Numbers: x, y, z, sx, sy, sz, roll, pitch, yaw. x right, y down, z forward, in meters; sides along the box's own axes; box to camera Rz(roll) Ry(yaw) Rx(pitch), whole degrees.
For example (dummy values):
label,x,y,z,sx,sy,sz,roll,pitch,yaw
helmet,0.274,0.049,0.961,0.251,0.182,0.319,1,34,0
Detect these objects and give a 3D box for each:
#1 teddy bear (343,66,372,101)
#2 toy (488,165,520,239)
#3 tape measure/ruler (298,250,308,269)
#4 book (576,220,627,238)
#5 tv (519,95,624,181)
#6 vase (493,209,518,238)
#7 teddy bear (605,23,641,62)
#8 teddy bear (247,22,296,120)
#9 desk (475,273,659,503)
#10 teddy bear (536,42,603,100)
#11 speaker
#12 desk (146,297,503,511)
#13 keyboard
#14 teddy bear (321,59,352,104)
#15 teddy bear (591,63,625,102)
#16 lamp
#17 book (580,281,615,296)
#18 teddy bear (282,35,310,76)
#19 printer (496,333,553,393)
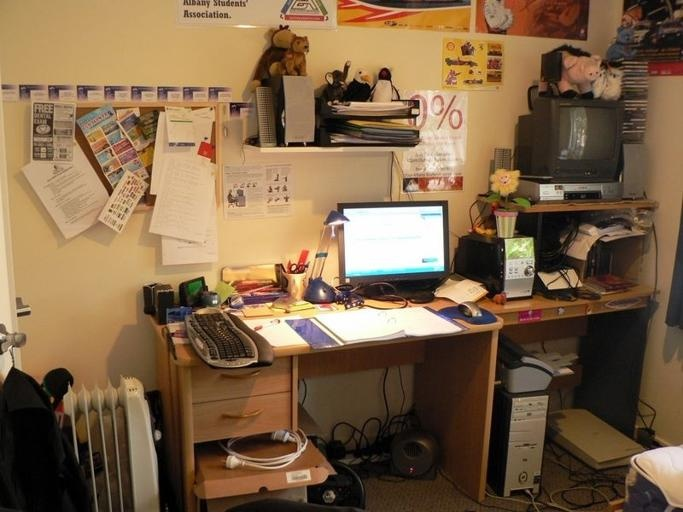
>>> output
label,x,y,z,sx,sy,sz,roll,pitch,yaw
teddy bear,0.088,-0.865,2.926,0.163,0.168,0.115,-3,14,10
toy,0.879,-0.276,3.099,0.178,0.361,0.164,-2,7,-9
tape measure/ruler,-0.200,0.022,3.030,0.019,0.077,0.077,17,8,3
book,1.467,-0.143,3.244,0.164,0.046,0.124,-8,15,-28
tv,1.301,-0.644,3.331,0.534,0.457,0.558,1,7,8
vase,0.871,-0.174,3.116,0.138,0.156,0.138,-3,9,-22
teddy bear,1.593,-1.175,3.218,0.220,0.185,0.098,-10,17,-22
teddy bear,-0.313,-0.940,2.824,0.274,0.361,0.157,2,5,-20
desk,1.237,0.720,3.139,1.068,0.973,0.450,-3,6,-32
teddy bear,1.278,-1.007,3.173,0.313,0.279,0.230,-7,16,-11
speaker,0.852,0.051,3.163,0.199,0.345,0.379,-10,16,-24
desk,-0.097,0.352,2.911,1.801,1.242,0.925,-4,10,-20
keyboard,-0.497,0.347,2.453,0.285,0.098,0.528,-11,18,-23
teddy bear,-0.026,-0.864,2.875,0.159,0.192,0.306,-3,16,1
teddy bear,1.473,-0.934,3.173,0.154,0.211,0.062,9,3,-7
lamp,-0.093,-0.005,3.007,0.255,0.460,0.255,-6,16,-10
book,1.413,0.188,3.198,0.094,0.023,0.093,-9,20,-42
teddy bear,-0.218,-0.950,2.755,0.134,0.184,0.133,-9,17,-20
printer,0.917,0.576,3.160,0.277,0.187,0.511,-3,6,-2
